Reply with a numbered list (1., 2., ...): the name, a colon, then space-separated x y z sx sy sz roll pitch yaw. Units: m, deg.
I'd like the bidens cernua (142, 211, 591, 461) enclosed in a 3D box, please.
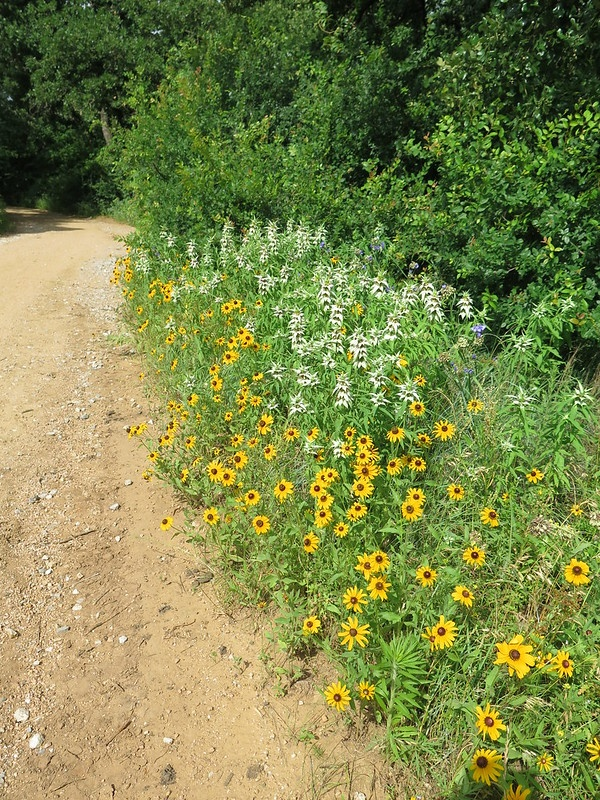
1. bidens cernua: 0.508 -0.419 4.041 1.128 0.831 1.636 -38 55 -16
